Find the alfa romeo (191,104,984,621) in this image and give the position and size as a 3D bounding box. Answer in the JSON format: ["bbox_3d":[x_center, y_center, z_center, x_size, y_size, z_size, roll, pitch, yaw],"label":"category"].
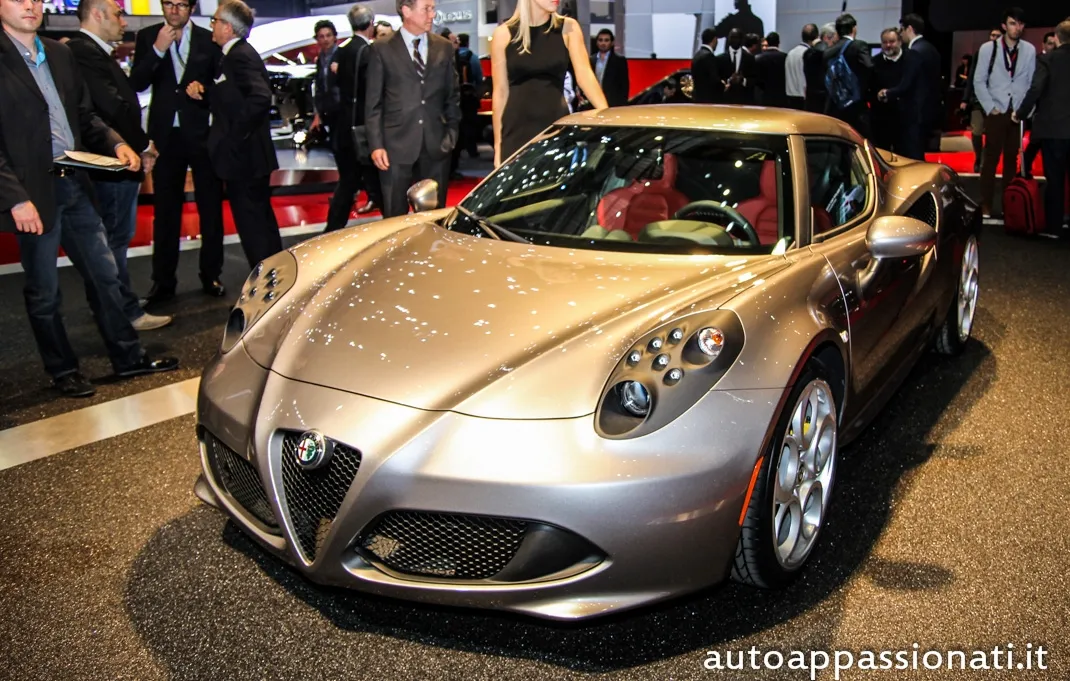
[{"bbox_3d":[0.339,-0.081,3.621,3.966,1.823,2.249,-17,28,-31],"label":"alfa romeo"}]

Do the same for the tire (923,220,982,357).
[{"bbox_3d":[3.171,-0.390,5.408,0.257,0.981,0.881,6,17,42],"label":"tire"}]

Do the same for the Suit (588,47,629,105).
[{"bbox_3d":[1.335,-4.595,12.375,0.584,0.876,0.586,-1,22,3],"label":"Suit"}]

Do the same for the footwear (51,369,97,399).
[{"bbox_3d":[-3.349,0.323,5.133,0.354,0.177,0.161,8,15,17],"label":"footwear"}]

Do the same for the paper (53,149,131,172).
[{"bbox_3d":[-3.179,-1.292,5.063,0.623,0.059,0.530,10,13,2],"label":"paper"}]

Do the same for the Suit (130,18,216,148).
[{"bbox_3d":[-3.501,-2.470,6.912,0.825,1.202,0.305,5,10,6],"label":"Suit"}]

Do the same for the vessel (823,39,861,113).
[{"bbox_3d":[5.117,-4.442,11.700,0.549,0.922,0.499,6,38,44],"label":"vessel"}]

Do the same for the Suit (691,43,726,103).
[{"bbox_3d":[3.690,-5.730,15.331,0.611,1.147,0.831,-11,22,-24],"label":"Suit"}]

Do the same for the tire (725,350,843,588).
[{"bbox_3d":[1.054,0.543,3.047,0.235,0.857,0.790,10,-13,22],"label":"tire"}]
